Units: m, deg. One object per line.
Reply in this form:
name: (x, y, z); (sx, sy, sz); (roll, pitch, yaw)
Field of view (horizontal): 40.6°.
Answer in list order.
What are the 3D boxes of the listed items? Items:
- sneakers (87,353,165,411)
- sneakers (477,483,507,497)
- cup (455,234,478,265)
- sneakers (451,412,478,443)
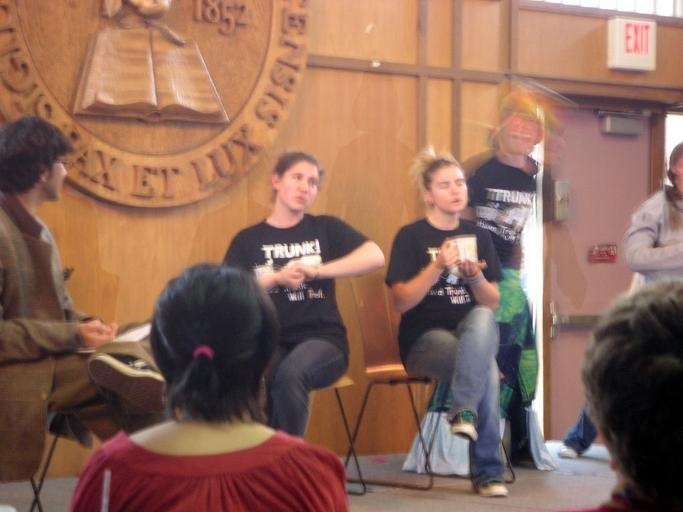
sneakers: (-0.955, 0.548, 4.122); (0.350, 0.122, 0.140); (41, 14, -1)
sneakers: (0.782, 1.206, 4.812); (0.146, 0.071, 0.065); (-8, -10, 32)
cup: (0.690, -0.049, 5.142); (0.126, 0.132, 0.111); (-10, -8, 25)
sneakers: (0.624, 0.852, 4.726); (0.130, 0.137, 0.089); (0, -4, 4)
